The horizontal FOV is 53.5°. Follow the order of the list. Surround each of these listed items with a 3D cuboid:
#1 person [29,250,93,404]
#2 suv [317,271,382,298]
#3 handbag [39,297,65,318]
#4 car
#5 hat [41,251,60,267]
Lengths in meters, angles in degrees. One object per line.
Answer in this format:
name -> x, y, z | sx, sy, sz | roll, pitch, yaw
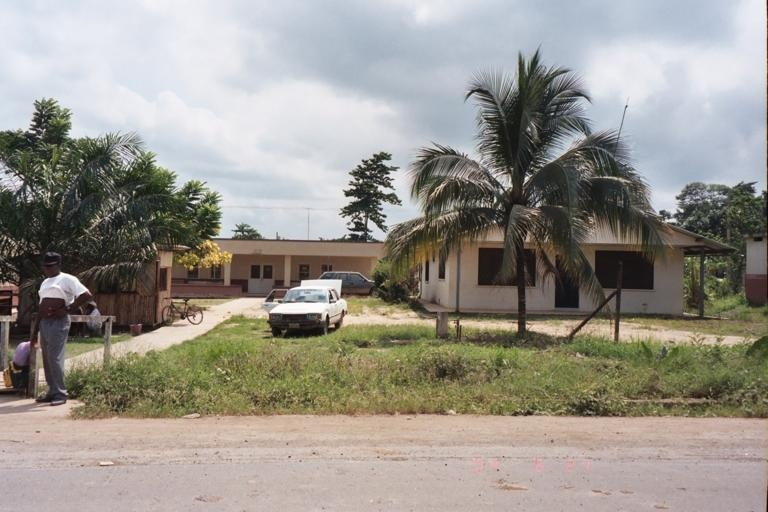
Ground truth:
person -> -6.653, 1.480, 15.513 | 0.894, 3.073, 0.572 | 4, -7, -25
suv -> -2.226, 1.775, 45.925 | 2.778, 1.086, 1.544 | -1, -1, -7
handbag -> -6.726, 1.059, 15.339 | 0.362, 0.369, 0.472 | 1, -3, -13
car -> -2.531, 1.751, 24.505 | 2.131, 1.712, 2.806 | 1, -7, -1
hat -> -6.852, 0.071, 15.690 | 0.360, 0.291, 0.503 | 1, -6, -4
